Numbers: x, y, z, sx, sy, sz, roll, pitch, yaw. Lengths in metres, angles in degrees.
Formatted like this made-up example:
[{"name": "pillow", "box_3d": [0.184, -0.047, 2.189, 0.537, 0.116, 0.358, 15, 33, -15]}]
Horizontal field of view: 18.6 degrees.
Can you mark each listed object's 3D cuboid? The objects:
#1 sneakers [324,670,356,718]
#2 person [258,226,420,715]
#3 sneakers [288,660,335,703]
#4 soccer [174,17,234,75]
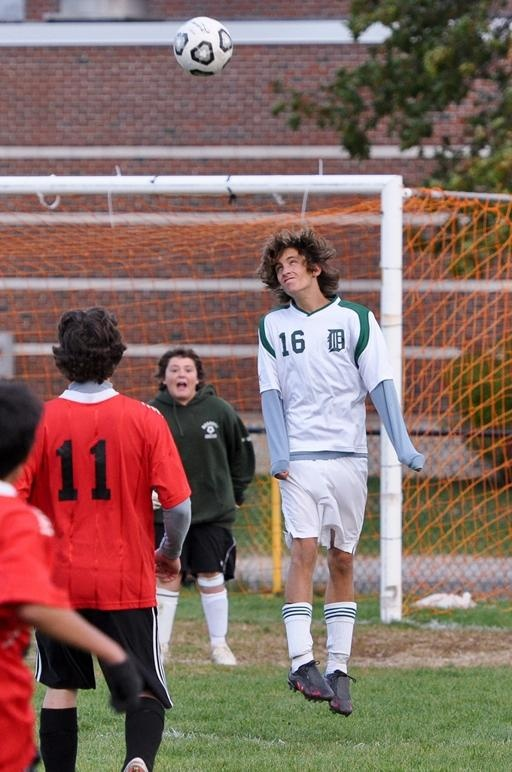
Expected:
[{"name": "sneakers", "box_3d": [0.411, 1.514, 7.741, 0.092, 0.132, 0.259, 11, 35, -24]}, {"name": "person", "box_3d": [0.388, 0.423, 7.904, 0.681, 2.452, 0.758, -2, 1, -7]}, {"name": "sneakers", "box_3d": [0.259, 1.428, 7.627, 0.267, 0.181, 0.116, 20, 19, 40]}, {"name": "soccer", "box_3d": [-0.347, -2.232, 10.479, 0.326, 0.411, 0.362, 0, -2, 5]}]
